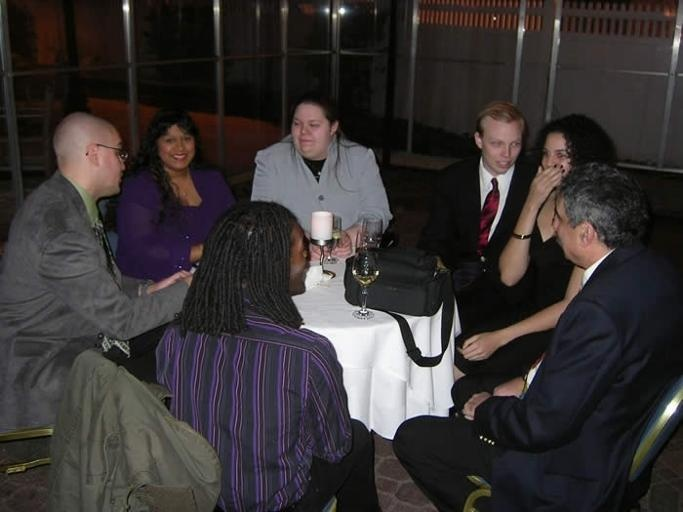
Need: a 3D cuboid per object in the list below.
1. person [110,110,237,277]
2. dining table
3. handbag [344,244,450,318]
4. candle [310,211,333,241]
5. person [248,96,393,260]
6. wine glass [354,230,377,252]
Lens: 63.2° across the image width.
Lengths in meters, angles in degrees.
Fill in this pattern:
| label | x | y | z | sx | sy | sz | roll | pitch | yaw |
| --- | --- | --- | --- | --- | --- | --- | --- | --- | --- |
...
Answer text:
| label | x | y | z | sx | sy | sz | roll | pitch | yaw |
| --- | --- | --- | --- | --- | --- | --- | --- | --- | --- |
| person | -1.048 | -0.378 | 3.559 | 0.757 | 1.015 | 0.621 | -17 | 31 | -42 |
| dining table | 0.185 | 0.489 | 2.628 | 0.709 | 0.548 | 0.739 | 14 | 32 | 25 |
| handbag | 0.226 | 0.081 | 2.852 | 0.455 | 0.239 | 0.637 | 10 | 16 | -1 |
| candle | -0.103 | -0.165 | 2.964 | 0.130 | 0.158 | 0.135 | 0 | 17 | -3 |
| person | -0.220 | -0.375 | 3.820 | 0.981 | 1.355 | 0.842 | -5 | 19 | -18 |
| wine glass | 0.145 | -0.090 | 3.039 | 0.125 | 0.146 | 0.132 | -3 | 5 | -34 |
